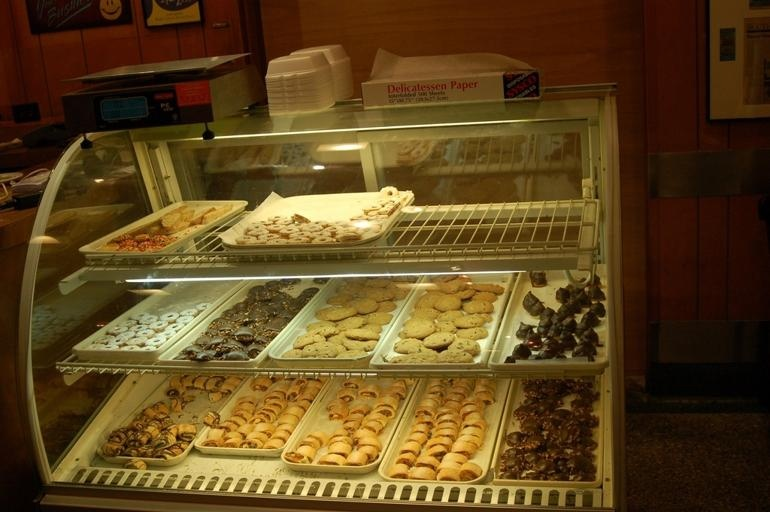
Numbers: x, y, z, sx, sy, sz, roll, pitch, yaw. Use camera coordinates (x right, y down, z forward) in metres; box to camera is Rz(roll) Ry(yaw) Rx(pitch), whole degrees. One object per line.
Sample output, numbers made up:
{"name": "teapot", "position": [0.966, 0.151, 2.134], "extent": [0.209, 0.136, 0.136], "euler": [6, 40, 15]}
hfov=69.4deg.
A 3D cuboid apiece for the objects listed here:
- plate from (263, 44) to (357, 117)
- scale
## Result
{"name": "plate", "position": [-0.266, -0.701, 2.321], "extent": [0.407, 0.307, 0.365], "euler": [4, 17, 21]}
{"name": "scale", "position": [-0.895, -0.663, 2.265], "extent": [0.620, 0.251, 0.503], "euler": [-1, 19, 9]}
